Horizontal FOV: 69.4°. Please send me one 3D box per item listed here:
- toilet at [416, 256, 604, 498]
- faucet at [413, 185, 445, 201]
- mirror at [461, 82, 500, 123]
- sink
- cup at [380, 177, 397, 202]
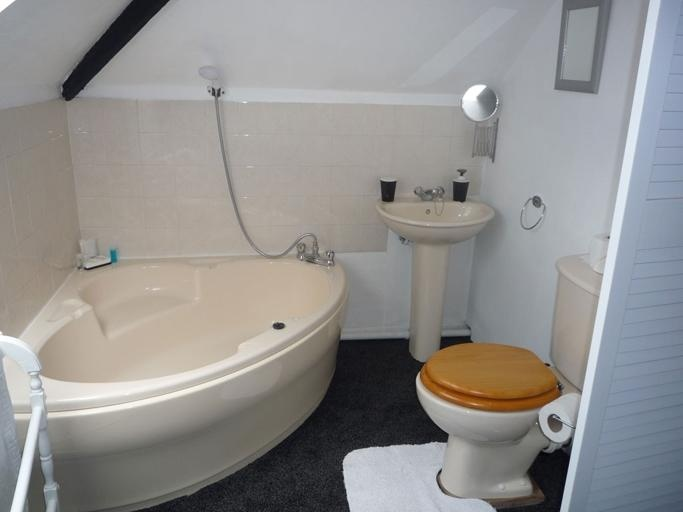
[{"bbox_3d":[0.819,0.565,2.685,1.105,1.307,0.763,0,17,4],"label":"toilet"},{"bbox_3d":[0.589,-0.415,3.258,0.160,0.075,0.102,2,25,10],"label":"faucet"},{"bbox_3d":[0.874,-0.950,3.057,0.212,0.232,0.054,-3,17,-1],"label":"mirror"},{"bbox_3d":[0.588,-0.174,3.108,0.471,0.168,0.377,-2,26,-2],"label":"sink"},{"bbox_3d":[0.305,-0.450,3.299,0.125,0.153,0.135,2,33,-1],"label":"cup"}]
